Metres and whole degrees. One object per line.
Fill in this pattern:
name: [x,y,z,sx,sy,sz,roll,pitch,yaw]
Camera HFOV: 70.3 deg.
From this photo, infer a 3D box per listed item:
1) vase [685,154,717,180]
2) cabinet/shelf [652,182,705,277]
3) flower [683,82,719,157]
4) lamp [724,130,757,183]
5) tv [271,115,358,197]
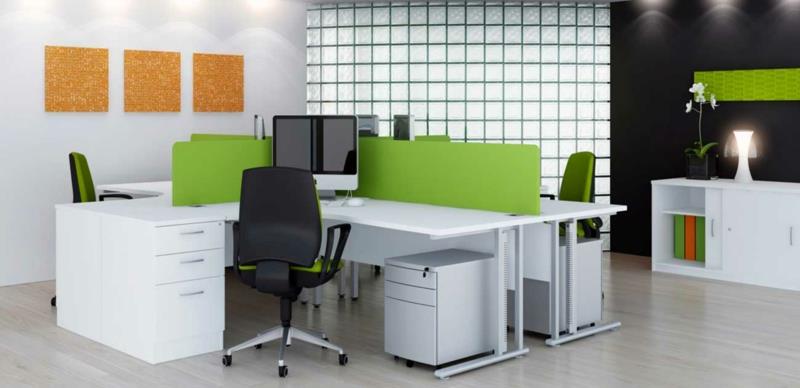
vase: [4.871,-0.421,9.230,0.496,0.384,0.474,0,-1,40]
cabinet/shelf: [4.580,0.487,9.392,0.971,1.457,0.413,-3,10,-11]
flower: [4.958,-1.233,9.371,0.504,1.225,0.594,3,10,25]
lamp: [5.444,-0.612,9.095,0.437,0.809,0.555,4,10,29]
tv: [-1.083,-0.504,7.260,1.369,1.013,0.427,0,0,4]
